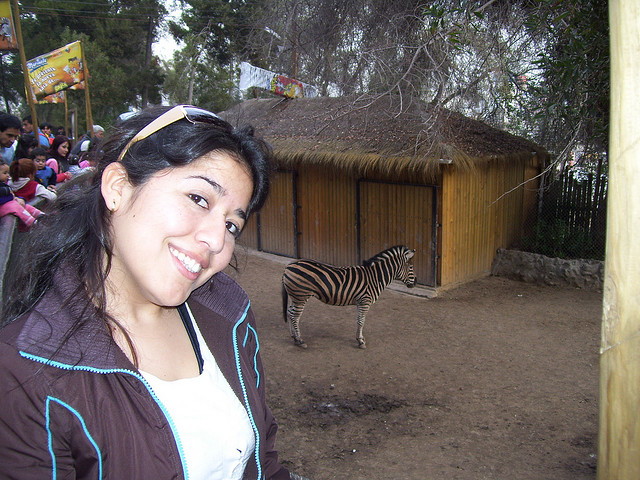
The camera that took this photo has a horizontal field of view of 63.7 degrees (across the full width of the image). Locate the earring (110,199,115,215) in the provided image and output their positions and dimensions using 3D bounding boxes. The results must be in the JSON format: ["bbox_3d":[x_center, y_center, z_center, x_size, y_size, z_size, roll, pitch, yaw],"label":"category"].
[{"bbox_3d":[-0.750,-0.119,1.854,0.011,0.057,0.038,-6,11,-33],"label":"earring"}]

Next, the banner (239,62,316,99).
[{"bbox_3d":[-1.344,-4.389,14.282,0.412,0.770,2.610,6,13,32],"label":"banner"}]

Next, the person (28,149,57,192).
[{"bbox_3d":[-4.418,-1.004,8.149,0.342,0.921,0.321,-6,15,-25],"label":"person"}]

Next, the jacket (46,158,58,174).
[{"bbox_3d":[-4.500,-1.240,8.595,0.116,0.254,0.226,-14,33,-34],"label":"jacket"}]
